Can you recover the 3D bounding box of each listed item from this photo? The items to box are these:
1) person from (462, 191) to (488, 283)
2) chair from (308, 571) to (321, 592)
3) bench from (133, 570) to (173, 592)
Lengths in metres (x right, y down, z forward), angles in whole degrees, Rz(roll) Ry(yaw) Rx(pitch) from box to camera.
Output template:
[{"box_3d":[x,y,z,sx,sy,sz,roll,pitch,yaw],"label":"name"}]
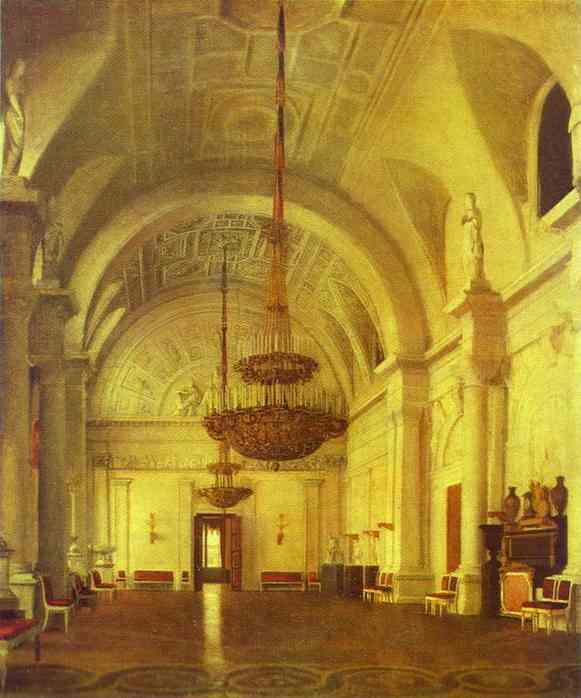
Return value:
[{"box_3d":[2.595,-1.545,15.451,0.276,1.482,0.611,-3,-14,9],"label":"person"},{"box_3d":[0.547,5.880,27.331,0.408,0.521,0.434,1,-18,-2],"label":"chair"},{"box_3d":[-3.456,5.761,26.979,1.285,0.375,0.628,0,-9,-4],"label":"bench"}]
